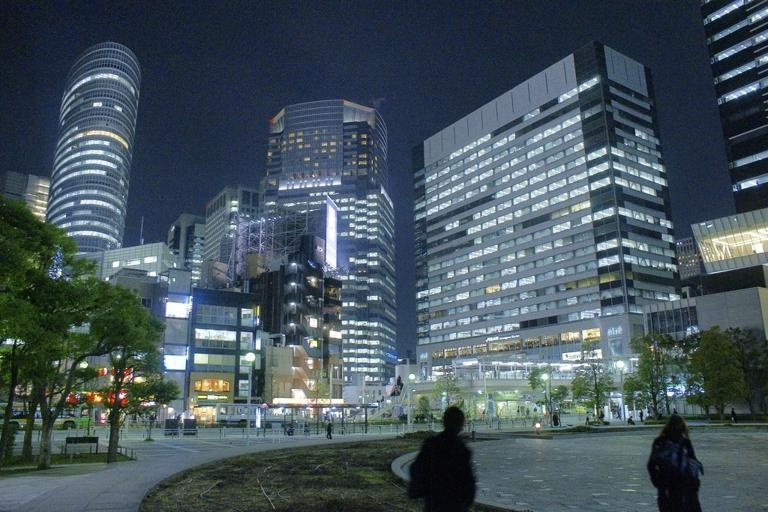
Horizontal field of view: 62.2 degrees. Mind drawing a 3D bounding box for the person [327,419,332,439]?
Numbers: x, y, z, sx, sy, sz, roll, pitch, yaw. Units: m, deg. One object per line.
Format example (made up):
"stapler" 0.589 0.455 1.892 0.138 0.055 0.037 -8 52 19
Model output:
"person" -6.356 20.273 73.908 0.448 1.774 0.987 1 -17 -9
